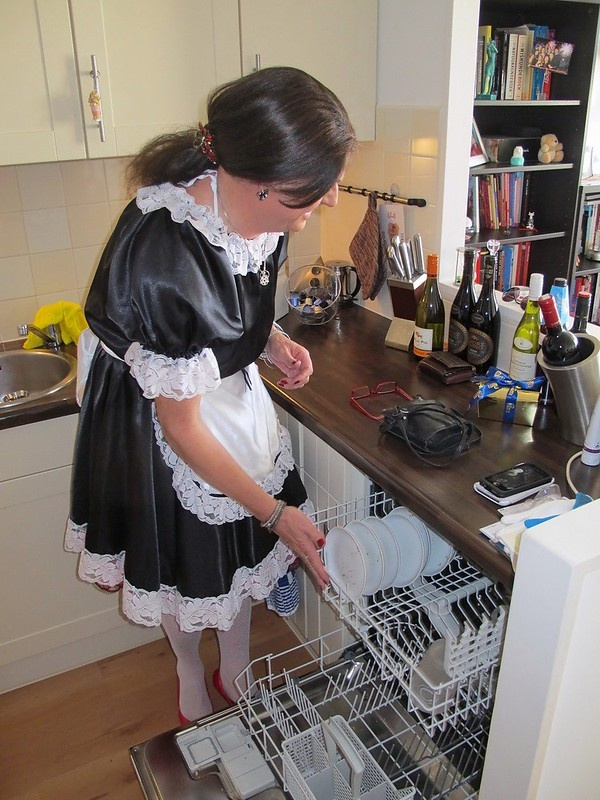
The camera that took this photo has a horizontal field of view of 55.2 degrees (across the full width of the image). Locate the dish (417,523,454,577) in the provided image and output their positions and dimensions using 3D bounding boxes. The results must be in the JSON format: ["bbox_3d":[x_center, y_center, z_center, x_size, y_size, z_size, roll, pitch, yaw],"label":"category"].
[{"bbox_3d":[0.245,0.268,1.026,0.068,0.089,0.035,8,-13,-6],"label":"dish"}]

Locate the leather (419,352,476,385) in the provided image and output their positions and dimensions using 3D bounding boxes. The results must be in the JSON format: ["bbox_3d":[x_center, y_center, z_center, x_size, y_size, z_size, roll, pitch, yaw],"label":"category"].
[{"bbox_3d":[0.360,-0.101,1.418,0.075,0.037,0.098,-14,32,-21],"label":"leather"}]

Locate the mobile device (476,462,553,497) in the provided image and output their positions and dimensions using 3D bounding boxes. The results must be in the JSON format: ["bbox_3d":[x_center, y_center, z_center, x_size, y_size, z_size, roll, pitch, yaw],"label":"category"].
[{"bbox_3d":[0.356,0.133,0.948,0.117,0.013,0.066,-15,24,-21],"label":"mobile device"}]

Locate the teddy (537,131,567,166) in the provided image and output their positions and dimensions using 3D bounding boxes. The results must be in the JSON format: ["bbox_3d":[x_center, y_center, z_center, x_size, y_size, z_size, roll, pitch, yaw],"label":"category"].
[{"bbox_3d":[1.000,-1.000,2.274,0.112,0.129,0.094,-28,39,-27],"label":"teddy"}]

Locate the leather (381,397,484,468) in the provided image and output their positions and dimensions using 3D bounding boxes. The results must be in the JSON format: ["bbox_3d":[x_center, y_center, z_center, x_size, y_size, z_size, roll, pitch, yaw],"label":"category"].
[{"bbox_3d":[0.242,0.055,1.114,0.177,0.067,0.164,15,30,40],"label":"leather"}]

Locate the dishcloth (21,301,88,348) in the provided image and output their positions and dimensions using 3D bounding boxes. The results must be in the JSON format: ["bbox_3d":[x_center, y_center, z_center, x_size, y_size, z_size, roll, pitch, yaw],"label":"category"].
[{"bbox_3d":[-0.761,-0.233,1.783,0.164,0.136,0.156,-10,33,-28],"label":"dishcloth"}]

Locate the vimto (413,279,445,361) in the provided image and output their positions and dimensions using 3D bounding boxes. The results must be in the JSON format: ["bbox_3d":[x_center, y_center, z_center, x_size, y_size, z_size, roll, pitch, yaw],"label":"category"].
[{"bbox_3d":[0.355,-0.244,1.558,0.078,0.278,0.068,-29,39,-34],"label":"vimto"}]

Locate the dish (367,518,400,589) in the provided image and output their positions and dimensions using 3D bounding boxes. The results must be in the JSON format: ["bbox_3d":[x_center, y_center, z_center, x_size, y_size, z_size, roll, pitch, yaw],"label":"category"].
[{"bbox_3d":[0.144,0.251,0.956,0.013,0.093,0.086,-4,6,-8],"label":"dish"}]

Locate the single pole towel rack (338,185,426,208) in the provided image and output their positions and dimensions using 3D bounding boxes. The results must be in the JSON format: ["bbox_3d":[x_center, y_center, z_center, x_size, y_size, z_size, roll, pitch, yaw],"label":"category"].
[{"bbox_3d":[0.269,-0.650,1.815,0.043,0.044,0.410,-34,40,-30],"label":"single pole towel rack"}]
